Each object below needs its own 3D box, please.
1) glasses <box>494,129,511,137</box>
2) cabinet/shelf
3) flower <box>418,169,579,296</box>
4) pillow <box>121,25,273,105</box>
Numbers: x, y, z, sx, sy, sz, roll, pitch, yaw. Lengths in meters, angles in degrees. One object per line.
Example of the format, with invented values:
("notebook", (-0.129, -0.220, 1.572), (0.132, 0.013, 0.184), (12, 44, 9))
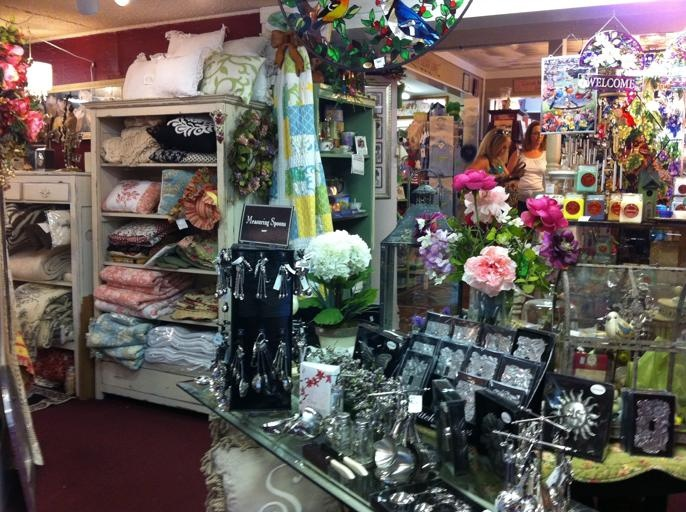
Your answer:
("glasses", (1.966, -1.501, 6.117), (0.147, 0.081, 0.110), (-8, 46, -12))
("cabinet/shelf", (-1.124, -0.034, 3.266), (2.647, 2.413, 0.922), (3, 8, 19))
("flower", (0.610, -0.058, 1.854), (0.505, 0.478, 0.494), (3, -4, -20))
("pillow", (-1.136, -1.413, 3.768), (0.950, 0.732, 0.320), (-4, -26, 4))
